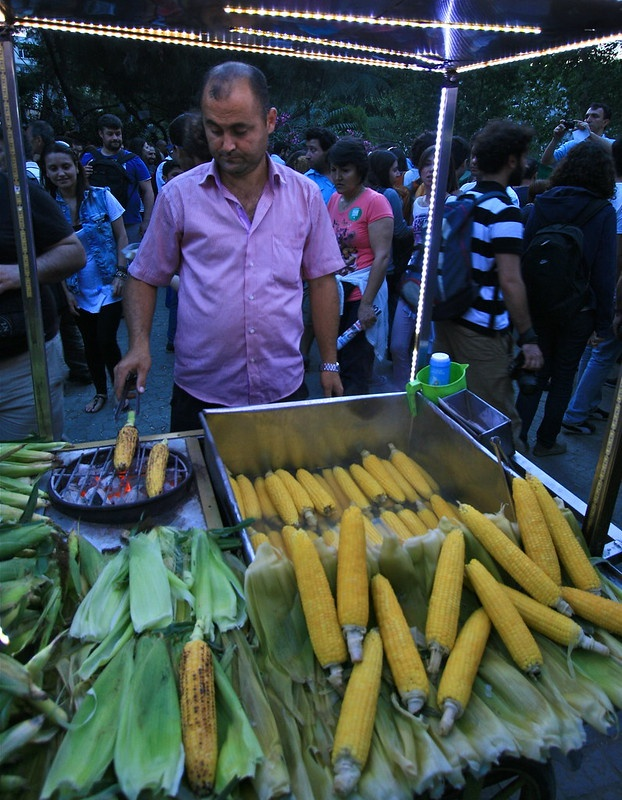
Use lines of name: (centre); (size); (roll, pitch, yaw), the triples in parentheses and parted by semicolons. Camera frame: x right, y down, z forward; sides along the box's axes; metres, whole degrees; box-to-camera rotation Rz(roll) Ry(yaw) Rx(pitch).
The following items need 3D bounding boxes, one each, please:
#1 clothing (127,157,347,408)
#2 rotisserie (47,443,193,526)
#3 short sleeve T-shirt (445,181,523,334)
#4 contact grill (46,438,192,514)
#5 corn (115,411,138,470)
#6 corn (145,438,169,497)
clothing: (-0.337, -0.591, 2.702); (1.004, 1.193, 0.494); (-2, 32, -11)
rotisserie: (-0.726, 0.304, 1.907); (0.296, 0.062, 0.293); (16, 26, 22)
short sleeve T-shirt: (1.093, -0.886, 3.414); (0.351, 0.869, 0.677); (-13, 27, -10)
contact grill: (-0.693, 0.305, 1.910); (0.493, 0.106, 0.508); (-4, 17, -27)
corn: (-0.716, 0.162, 2.105); (0.081, 0.079, 0.270); (7, 42, -18)
corn: (-0.526, 0.237, 1.924); (0.063, 0.062, 0.241); (36, 23, -18)
